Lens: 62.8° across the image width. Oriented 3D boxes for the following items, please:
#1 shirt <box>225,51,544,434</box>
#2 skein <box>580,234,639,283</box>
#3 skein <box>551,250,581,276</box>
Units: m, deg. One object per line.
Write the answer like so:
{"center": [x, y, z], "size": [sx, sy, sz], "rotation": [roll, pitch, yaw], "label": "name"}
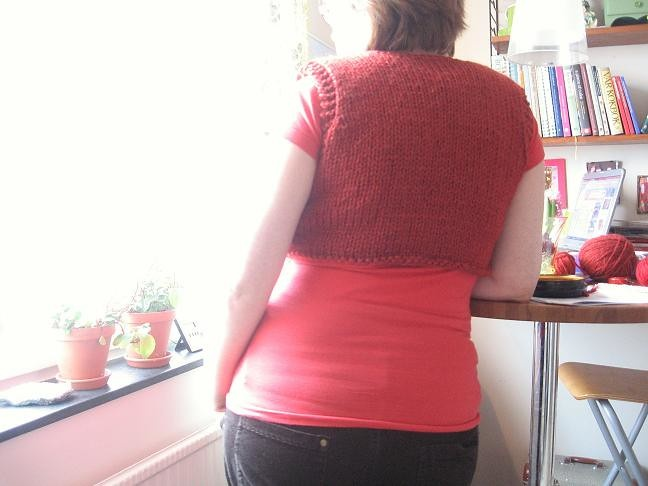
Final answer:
{"center": [0.122, -0.015, 1.307], "size": [0.621, 0.844, 0.437], "rotation": [7, -1, -14], "label": "shirt"}
{"center": [0.948, 0.058, 1.773], "size": [0.135, 0.161, 0.177], "rotation": [-1, -8, 10], "label": "skein"}
{"center": [0.800, 0.064, 1.771], "size": [0.074, 0.100, 0.098], "rotation": [-5, 2, -5], "label": "skein"}
